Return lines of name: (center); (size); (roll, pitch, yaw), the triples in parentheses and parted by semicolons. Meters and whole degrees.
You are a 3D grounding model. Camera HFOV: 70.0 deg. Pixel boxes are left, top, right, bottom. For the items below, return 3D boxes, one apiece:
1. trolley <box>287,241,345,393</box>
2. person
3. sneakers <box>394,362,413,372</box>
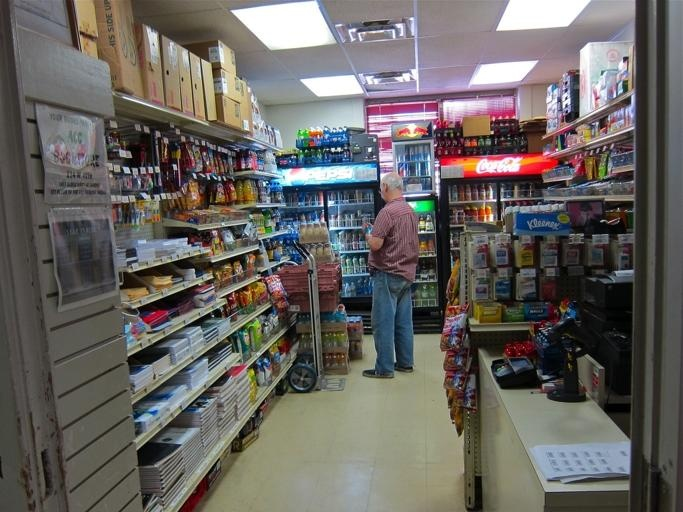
trolley: (-0.371, 0.606, 4.915); (0.357, 1.493, 0.427); (-2, 7, 5)
person: (0.508, 0.196, 5.108); (0.545, 2.103, 0.552); (0, 9, 19)
sneakers: (0.661, 1.197, 5.233); (0.180, 0.082, 0.074); (-2, 0, 20)
